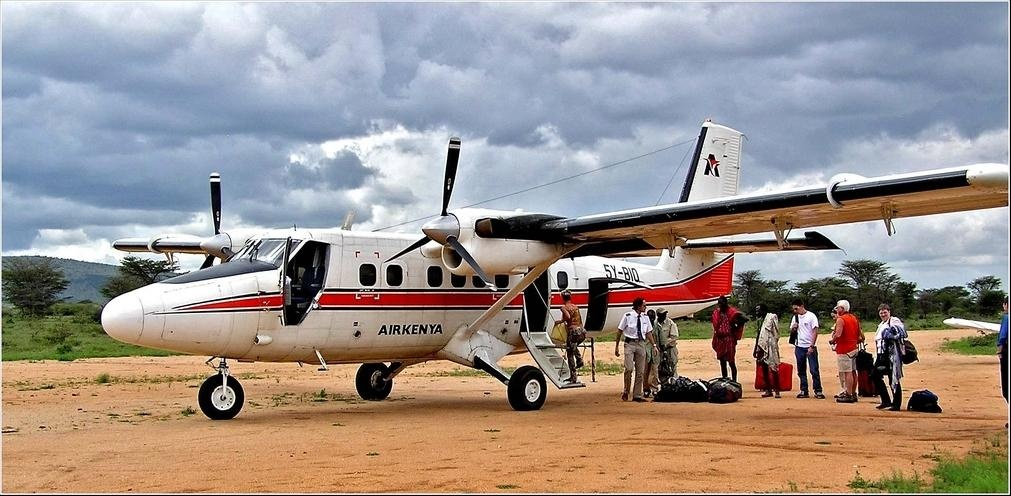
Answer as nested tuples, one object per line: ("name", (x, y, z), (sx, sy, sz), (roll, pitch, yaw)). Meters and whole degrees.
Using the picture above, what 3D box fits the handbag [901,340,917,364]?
("handbag", (11.568, 2.924, 20.567), (0.328, 0.574, 0.746), (0, 1, 31))

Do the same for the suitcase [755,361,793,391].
("suitcase", (8.666, 4.119, 23.170), (1.690, 1.122, 0.470), (-1, -6, 7))

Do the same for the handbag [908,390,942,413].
("handbag", (12.000, 4.427, 20.737), (0.655, 0.429, 0.802), (3, -12, -26))

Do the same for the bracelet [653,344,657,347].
("bracelet", (4.774, 3.075, 22.878), (0.140, 0.158, 0.063), (6, -51, 7))
